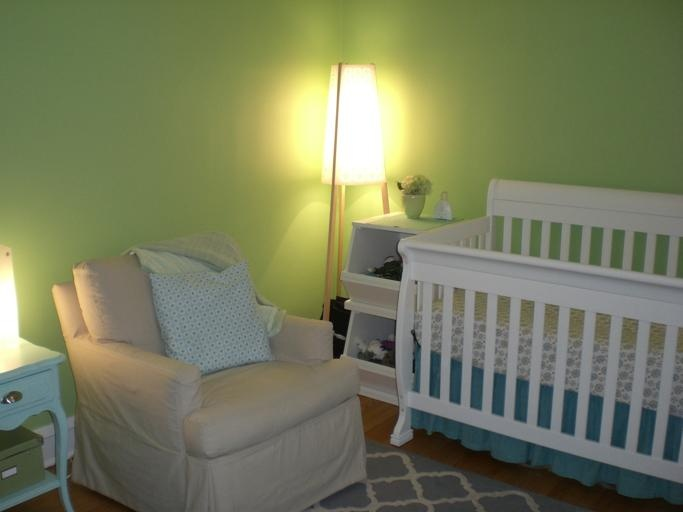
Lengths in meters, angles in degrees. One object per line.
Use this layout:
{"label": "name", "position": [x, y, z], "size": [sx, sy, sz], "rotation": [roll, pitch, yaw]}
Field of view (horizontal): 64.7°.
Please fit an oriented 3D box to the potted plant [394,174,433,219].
{"label": "potted plant", "position": [0.447, -0.354, 3.355], "size": [0.234, 0.300, 0.258], "rotation": [0, 1, -36]}
